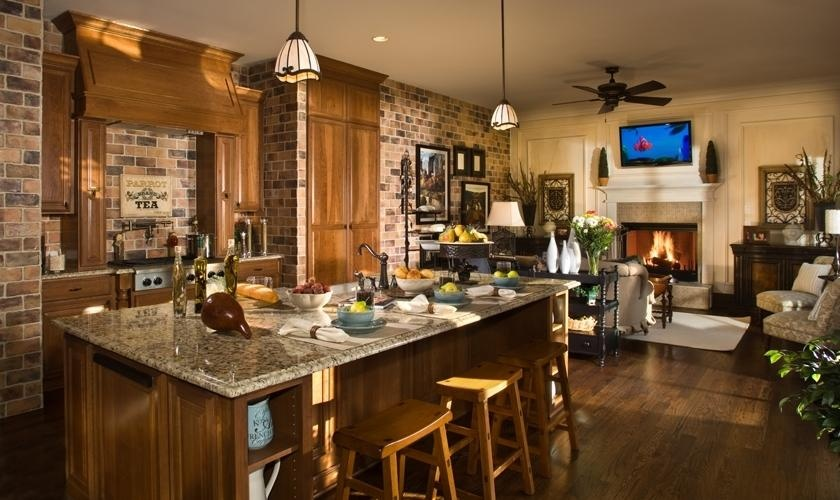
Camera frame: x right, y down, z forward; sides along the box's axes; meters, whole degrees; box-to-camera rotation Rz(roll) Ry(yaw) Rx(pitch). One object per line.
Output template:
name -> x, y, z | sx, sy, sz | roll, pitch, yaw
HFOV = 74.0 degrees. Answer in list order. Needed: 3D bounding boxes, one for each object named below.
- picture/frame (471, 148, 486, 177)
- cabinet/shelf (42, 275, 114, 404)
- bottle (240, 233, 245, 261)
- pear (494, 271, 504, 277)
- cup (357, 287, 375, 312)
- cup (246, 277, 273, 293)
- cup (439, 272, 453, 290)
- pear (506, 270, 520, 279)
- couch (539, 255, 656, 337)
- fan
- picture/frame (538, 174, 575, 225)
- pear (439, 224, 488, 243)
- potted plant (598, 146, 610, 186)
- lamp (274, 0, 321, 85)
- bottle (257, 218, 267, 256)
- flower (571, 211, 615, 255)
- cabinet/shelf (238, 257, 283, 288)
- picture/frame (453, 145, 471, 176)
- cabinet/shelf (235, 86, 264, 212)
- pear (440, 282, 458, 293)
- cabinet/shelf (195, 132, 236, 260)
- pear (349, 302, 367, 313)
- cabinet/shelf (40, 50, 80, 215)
picture/frame -> 1.089, -1.656, 10.506 | 0.063, 0.588, 0.627 | -2, -2, 34
cabinet/shelf -> -3.786, 0.982, 6.405 | 0.774, 1.218, 0.646 | -9, -14, -12
bottle -> -2.409, -0.072, 7.573 | 0.076, 0.281, 0.369 | -4, 15, -17
pear -> 0.771, 0.234, 5.396 | 0.056, 0.041, 0.071 | 4, 3, 16
cup -> -0.443, 0.387, 4.424 | 0.145, 0.149, 0.144 | 0, -3, 0
cup -> -1.423, 0.316, 5.040 | 0.166, 0.135, 0.202 | -1, -5, 8
cup -> 0.241, 0.291, 5.430 | 0.135, 0.214, 0.129 | 3, -2, 0
pear -> 0.893, 0.233, 5.336 | 0.093, 0.070, 0.067 | -8, 40, 20
couch -> 2.738, 0.644, 8.082 | 1.092, 1.245, 1.122 | 1, 4, 42
fan -> 3.169, -2.499, 9.004 | 0.744, 0.221, 0.780 | 3, -2, -21
picture/frame -> 2.705, -1.013, 11.057 | 0.745, 1.012, 0.357 | 6, 16, 18
pear -> 0.397, -0.151, 5.043 | 0.435, 0.174, 0.202 | 2, 14, 4
potted plant -> 3.489, -1.572, 10.543 | 0.227, 0.713, 0.285 | 6, 16, 17
lamp -> -0.983, -1.565, 4.478 | 0.333, 0.391, 0.209 | 1, 15, -1
bottle -> -2.191, -0.190, 7.818 | 0.119, 0.462, 0.377 | -3, 15, -15
flower -> 2.263, -0.236, 7.313 | 0.566, 0.565, 0.599 | 5, 6, 29
cabinet/shelf -> -1.963, 0.265, 6.781 | 0.310, 0.402, 0.453 | -1, -1, 34
picture/frame -> 0.750, -1.624, 10.116 | 0.068, 0.611, 0.654 | 0, 0, 38
cabinet/shelf -> -2.325, -1.346, 7.684 | 0.296, 1.722, 0.600 | 0, 15, -3
pear -> 0.259, 0.325, 4.715 | 0.109, 0.048, 0.080 | 0, 1, -17
cabinet/shelf -> -2.695, -0.735, 7.346 | 0.586, 1.586, 0.685 | -2, 15, -10
pear -> -0.458, 0.430, 4.194 | 0.095, 0.049, 0.092 | 2, 9, 11
cabinet/shelf -> -4.074, -1.270, 6.116 | 0.195, 1.652, 0.538 | 4, 6, 13
